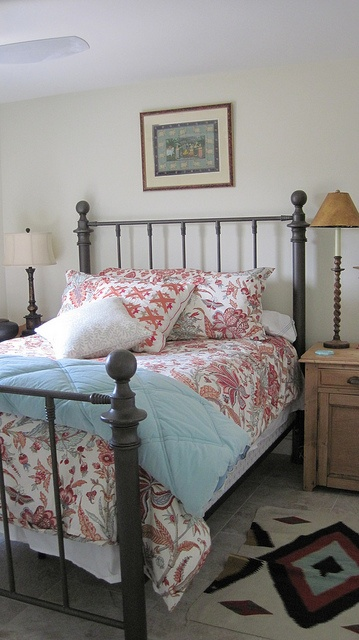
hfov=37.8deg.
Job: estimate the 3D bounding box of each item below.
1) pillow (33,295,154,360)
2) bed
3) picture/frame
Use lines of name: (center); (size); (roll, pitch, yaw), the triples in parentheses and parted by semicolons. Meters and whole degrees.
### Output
pillow: (-0.337, 0.024, 2.192); (0.382, 0.131, 0.413); (-15, 27, -21)
bed: (-0.244, 0.081, 2.255); (1.149, 1.244, 1.554); (4, 13, 24)
picture/frame: (0.058, -0.959, 2.873); (0.538, 0.424, 0.020); (1, 10, 18)
